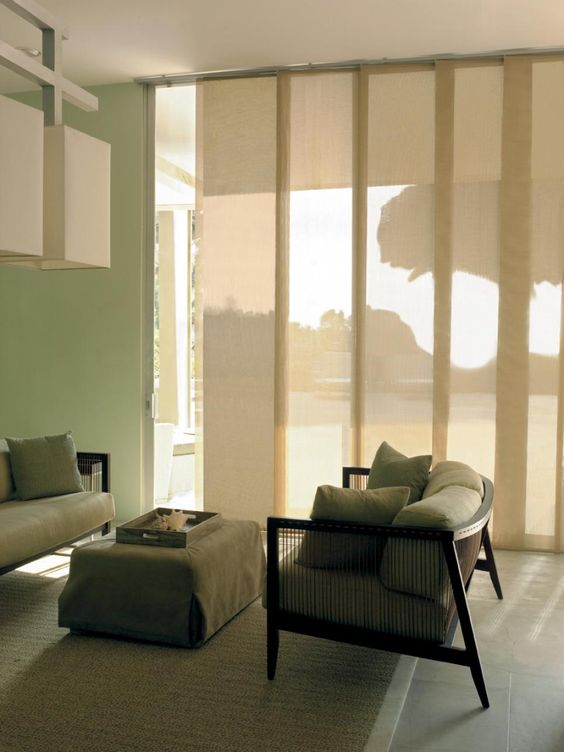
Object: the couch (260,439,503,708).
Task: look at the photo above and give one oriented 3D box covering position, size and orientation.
[{"bbox_3d":[0.430,0.730,2.546,0.772,0.739,0.895,-1,-1,41],"label":"couch"}]
